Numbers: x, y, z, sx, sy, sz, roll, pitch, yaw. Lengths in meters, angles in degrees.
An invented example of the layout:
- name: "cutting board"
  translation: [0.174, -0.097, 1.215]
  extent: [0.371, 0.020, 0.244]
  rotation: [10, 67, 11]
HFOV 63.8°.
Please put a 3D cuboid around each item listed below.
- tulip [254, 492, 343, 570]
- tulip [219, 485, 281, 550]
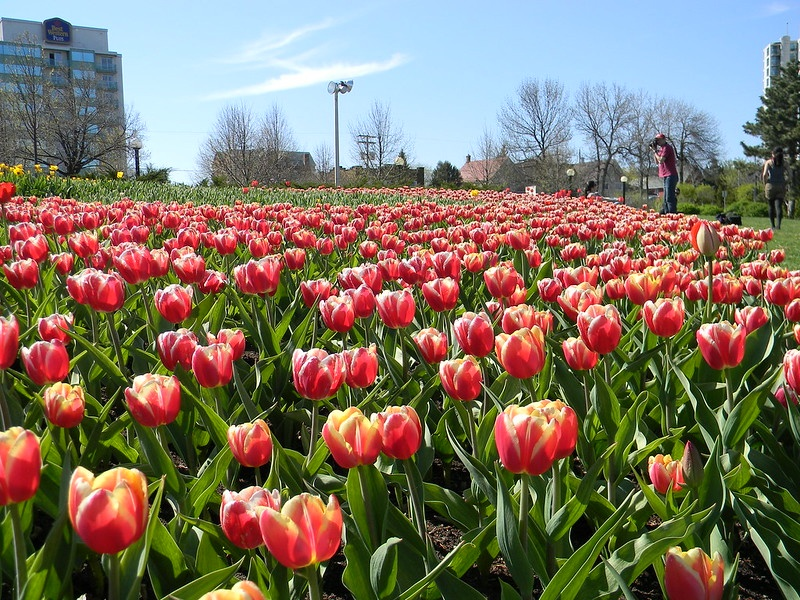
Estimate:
- name: "tulip"
  translation: [-0.196, 0.415, 1.250]
  extent: [0.148, 0.149, 0.122]
  rotation: [-8, -4, -35]
- name: "tulip"
  translation: [-0.325, 0.432, 1.355]
  extent: [0.127, 0.166, 0.126]
  rotation: [-2, 3, -21]
